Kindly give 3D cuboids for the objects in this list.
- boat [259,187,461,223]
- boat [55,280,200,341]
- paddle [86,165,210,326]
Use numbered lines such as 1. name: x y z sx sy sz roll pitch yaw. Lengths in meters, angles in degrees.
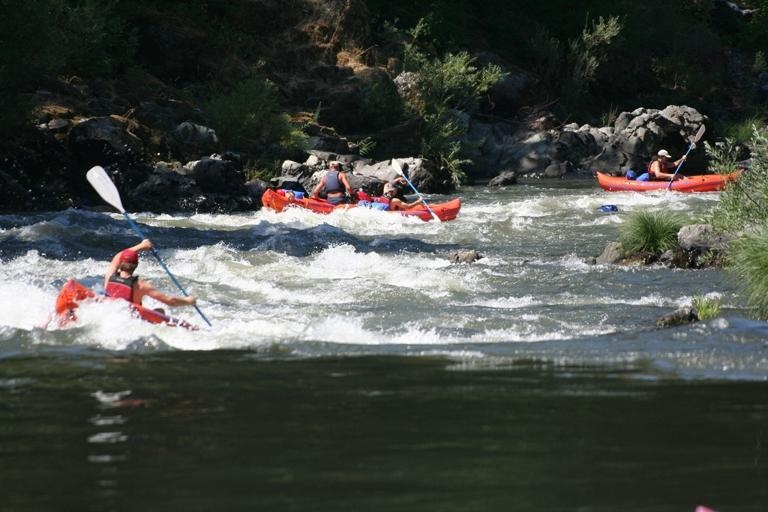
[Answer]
1. boat: -0.975 -1.836 49.871 7.638 1.314 2.113 5 11 2
2. boat: -7.384 1.488 37.977 2.693 0.818 1.851 18 2 -23
3. paddle: -5.826 1.003 39.884 0.169 3.545 0.331 -29 37 7
